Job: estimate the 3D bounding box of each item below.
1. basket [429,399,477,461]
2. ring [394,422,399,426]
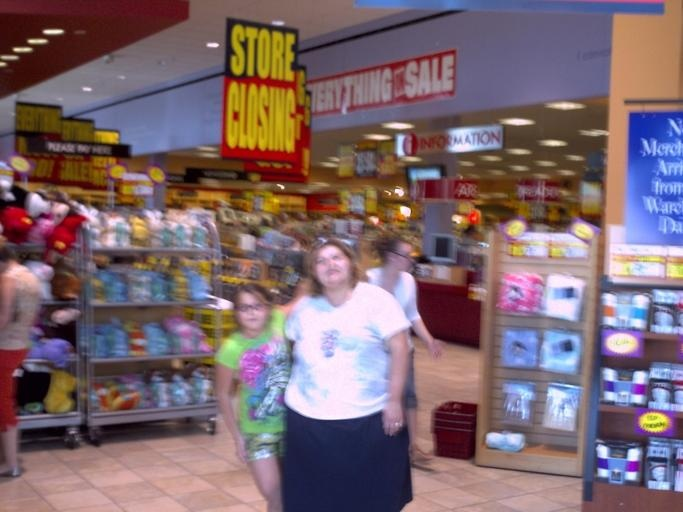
[{"bbox_3d":[0.990,1.550,5.678,0.397,0.351,0.467,0,-5,15],"label":"basket"},{"bbox_3d":[0.273,0.828,3.136,0.026,0.029,0.006,0,4,-18],"label":"ring"}]
